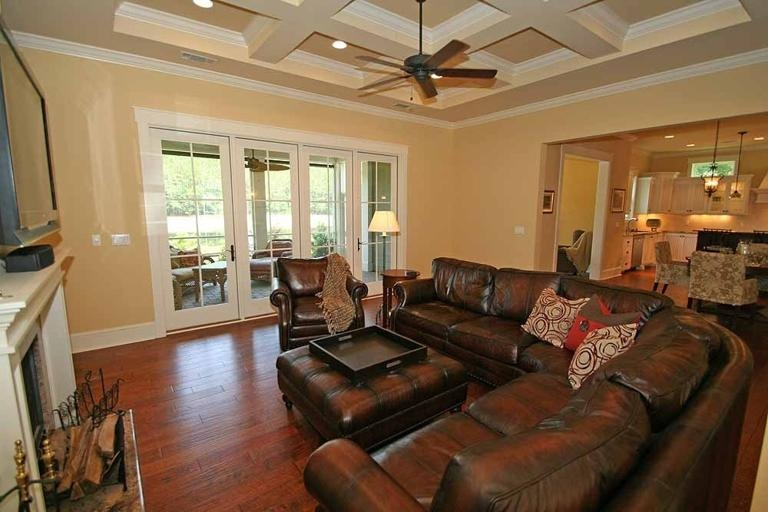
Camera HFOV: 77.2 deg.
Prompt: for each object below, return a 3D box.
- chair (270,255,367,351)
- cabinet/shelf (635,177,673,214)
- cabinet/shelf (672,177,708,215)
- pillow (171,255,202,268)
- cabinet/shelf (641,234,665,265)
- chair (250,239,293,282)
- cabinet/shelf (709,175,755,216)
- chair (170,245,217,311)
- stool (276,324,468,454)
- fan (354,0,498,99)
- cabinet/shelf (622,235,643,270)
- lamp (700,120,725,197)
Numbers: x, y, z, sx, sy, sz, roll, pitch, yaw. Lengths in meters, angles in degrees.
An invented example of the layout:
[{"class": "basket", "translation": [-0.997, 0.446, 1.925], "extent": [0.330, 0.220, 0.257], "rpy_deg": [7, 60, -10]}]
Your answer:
[{"class": "chair", "translation": [-0.784, 0.516, 5.842], "extent": [1.171, 0.977, 1.160], "rpy_deg": [-1, 2, -18]}, {"class": "cabinet/shelf", "translation": [6.015, -1.388, 10.716], "extent": [0.867, 0.745, 0.423], "rpy_deg": [-3, 7, -33]}, {"class": "cabinet/shelf", "translation": [6.677, -1.322, 10.434], "extent": [0.490, 0.826, 0.904], "rpy_deg": [0, 1, -26]}, {"class": "pillow", "translation": [-2.503, 0.059, 6.040], "extent": [0.302, 0.181, 0.166], "rpy_deg": [2, 3, -41]}, {"class": "cabinet/shelf", "translation": [5.283, -0.156, 9.461], "extent": [0.450, 0.686, 0.792], "rpy_deg": [3, 2, 41]}, {"class": "chair", "translation": [-1.593, 0.028, 6.644], "extent": [0.483, 0.542, 0.622], "rpy_deg": [2, 3, 12]}, {"class": "cabinet/shelf", "translation": [7.107, -1.259, 9.758], "extent": [0.347, 1.048, 0.938], "rpy_deg": [1, 1, -26]}, {"class": "chair", "translation": [-2.504, 0.174, 6.087], "extent": [0.318, 0.564, 0.809], "rpy_deg": [5, 11, 14]}, {"class": "stool", "translation": [0.056, 1.146, 4.209], "extent": [1.103, 0.395, 1.033], "rpy_deg": [-4, 7, -44]}, {"class": "fan", "translation": [0.487, -2.197, 5.201], "extent": [1.335, 0.921, 2.022], "rpy_deg": [-2, 5, 8]}, {"class": "cabinet/shelf", "translation": [5.233, -0.113, 10.136], "extent": [0.734, 0.605, 0.246], "rpy_deg": [-6, 12, -36]}, {"class": "lamp", "translation": [6.373, -1.720, 9.293], "extent": [0.305, 1.131, 2.979], "rpy_deg": [2, 6, 33]}]
